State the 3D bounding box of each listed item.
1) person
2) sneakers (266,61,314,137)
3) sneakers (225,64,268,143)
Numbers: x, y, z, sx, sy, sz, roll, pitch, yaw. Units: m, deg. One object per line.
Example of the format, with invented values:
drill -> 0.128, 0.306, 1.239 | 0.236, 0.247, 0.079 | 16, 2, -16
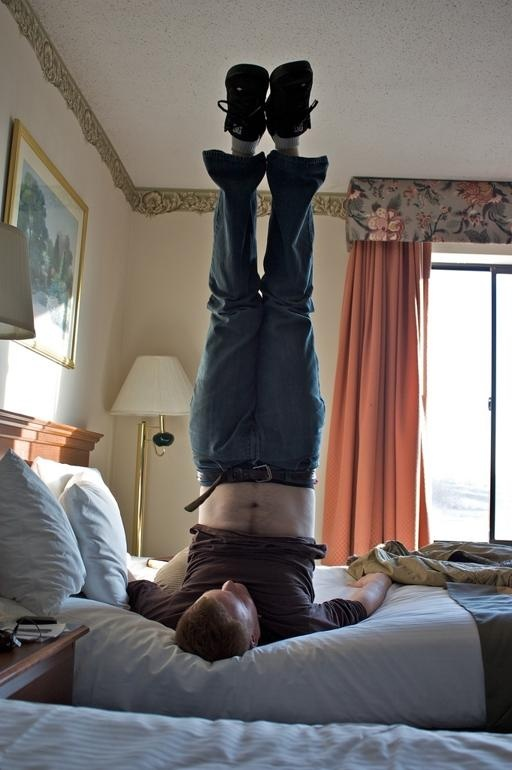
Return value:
person -> 0.029, -0.028, 1.591 | 0.721, 1.407, 0.380 | 1, 9, -3
sneakers -> 0.074, -0.665, 1.465 | 0.117, 0.182, 0.175 | -5, 27, -8
sneakers -> -0.019, -0.663, 1.456 | 0.068, 0.153, 0.214 | 2, 2, 7
